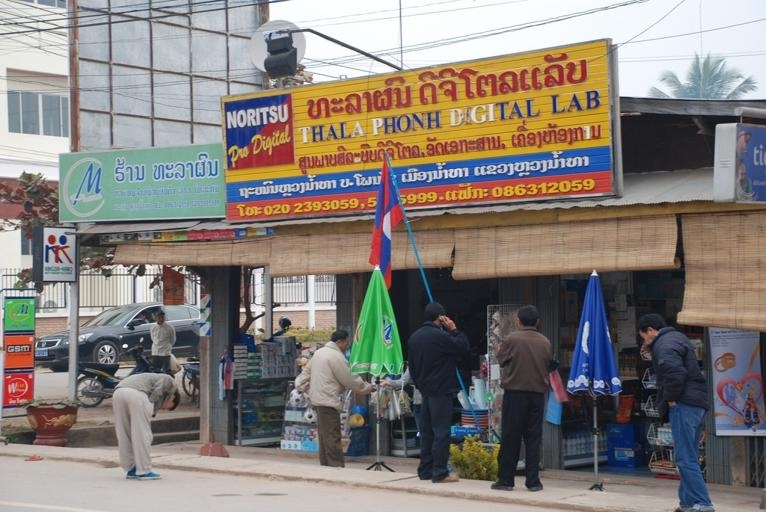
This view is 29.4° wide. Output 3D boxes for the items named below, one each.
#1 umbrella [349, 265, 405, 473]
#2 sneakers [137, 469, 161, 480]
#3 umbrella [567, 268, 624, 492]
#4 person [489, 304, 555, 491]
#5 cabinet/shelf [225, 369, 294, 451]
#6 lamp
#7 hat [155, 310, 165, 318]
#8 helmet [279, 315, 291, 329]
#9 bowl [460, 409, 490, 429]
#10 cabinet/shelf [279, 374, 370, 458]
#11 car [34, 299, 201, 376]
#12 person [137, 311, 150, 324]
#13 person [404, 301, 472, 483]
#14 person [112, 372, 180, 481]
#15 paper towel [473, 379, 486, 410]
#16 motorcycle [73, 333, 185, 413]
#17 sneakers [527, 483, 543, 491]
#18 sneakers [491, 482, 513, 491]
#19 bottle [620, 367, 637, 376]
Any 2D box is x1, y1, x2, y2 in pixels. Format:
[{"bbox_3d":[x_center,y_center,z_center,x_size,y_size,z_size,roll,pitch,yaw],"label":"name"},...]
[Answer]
[{"bbox_3d":[-0.115,2.260,29.049,1.001,4.051,1.210,-2,-4,0],"label":"umbrella"},{"bbox_3d":[-4.535,4.235,28.432,0.451,0.283,0.169,1,-1,-16],"label":"sneakers"},{"bbox_3d":[4.088,2.373,28.197,0.939,4.154,1.648,-2,-4,9],"label":"umbrella"},{"bbox_3d":[2.631,2.671,27.475,1.131,3.469,0.411,-2,-4,3],"label":"person"},{"bbox_3d":[-2.484,3.574,33.287,1.695,1.506,0.636,-9,-19,38],"label":"cabinet/shelf"},{"bbox_3d":[-0.934,-4.194,30.184,3.912,0.992,0.795,8,18,44],"label":"lamp"},{"bbox_3d":[-5.558,1.468,36.507,0.218,0.212,0.284,1,-8,-16],"label":"hat"},{"bbox_3d":[-2.426,1.634,36.006,0.257,0.317,0.309,5,0,19],"label":"helmet"},{"bbox_3d":[1.902,3.298,29.738,0.476,0.257,0.363,-2,-6,24],"label":"bowl"},{"bbox_3d":[-1.674,3.568,32.497,1.794,1.576,0.987,3,-6,-26],"label":"cabinet/shelf"},{"bbox_3d":[-7.438,2.412,41.925,4.560,1.469,2.074,4,-7,-41],"label":"car"},{"bbox_3d":[-6.772,1.772,41.463,0.254,0.288,0.776,-1,-4,-5],"label":"person"},{"bbox_3d":[1.068,2.613,28.079,1.151,3.422,0.490,-2,-4,11],"label":"person"},{"bbox_3d":[-4.649,3.296,28.283,1.069,2.052,0.656,-1,-4,-11],"label":"person"},{"bbox_3d":[1.962,2.745,29.212,0.261,0.571,0.221,-3,-4,14],"label":"paper towel"},{"bbox_3d":[-6.512,2.605,36.140,2.825,1.155,1.716,11,-13,-37],"label":"motorcycle"},{"bbox_3d":[2.874,4.327,27.402,0.302,0.148,0.134,0,-4,-17],"label":"sneakers"},{"bbox_3d":[2.239,4.330,27.428,0.364,0.152,0.153,2,1,19],"label":"sneakers"},{"bbox_3d":[5.126,2.397,30.367,0.312,0.163,0.203,-1,0,17],"label":"bottle"}]
